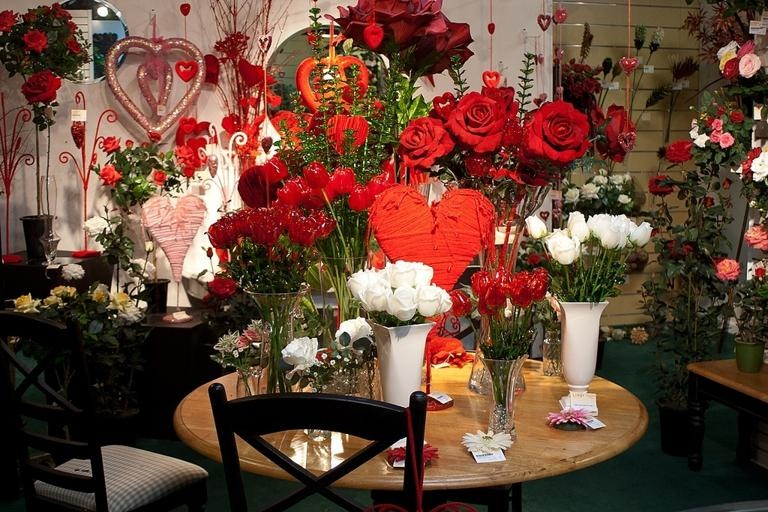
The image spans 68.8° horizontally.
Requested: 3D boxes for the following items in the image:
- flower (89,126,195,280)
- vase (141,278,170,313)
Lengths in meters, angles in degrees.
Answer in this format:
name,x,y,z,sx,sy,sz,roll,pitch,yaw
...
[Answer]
name,x,y,z,sx,sy,sz,roll,pitch,yaw
flower,-1.850,-0.467,4.345,0.714,0.917,0.560,-6,3,-19
vase,-1.634,0.288,4.040,0.206,0.236,0.217,1,6,14
